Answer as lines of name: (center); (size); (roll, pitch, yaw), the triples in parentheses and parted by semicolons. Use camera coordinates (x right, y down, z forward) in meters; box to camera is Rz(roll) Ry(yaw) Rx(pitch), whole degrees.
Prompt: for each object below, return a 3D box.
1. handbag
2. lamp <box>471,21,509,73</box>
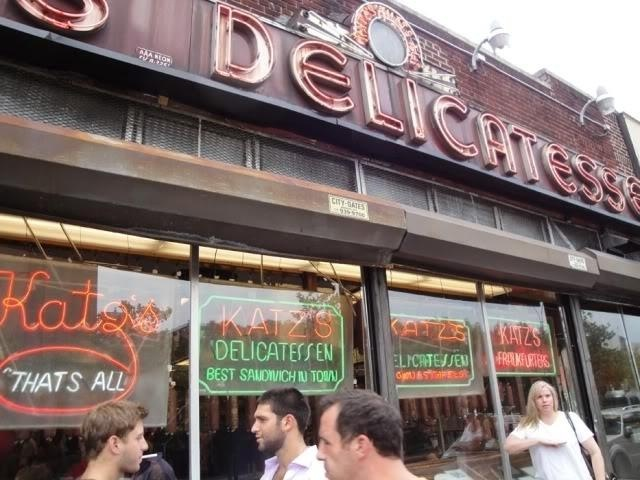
handbag: (2.505, 2.001, 4.801); (0.137, 0.614, 0.156); (-13, -24, 22)
lamp: (2.841, -3.266, 8.326); (0.579, 0.792, 0.354); (4, 6, 20)
